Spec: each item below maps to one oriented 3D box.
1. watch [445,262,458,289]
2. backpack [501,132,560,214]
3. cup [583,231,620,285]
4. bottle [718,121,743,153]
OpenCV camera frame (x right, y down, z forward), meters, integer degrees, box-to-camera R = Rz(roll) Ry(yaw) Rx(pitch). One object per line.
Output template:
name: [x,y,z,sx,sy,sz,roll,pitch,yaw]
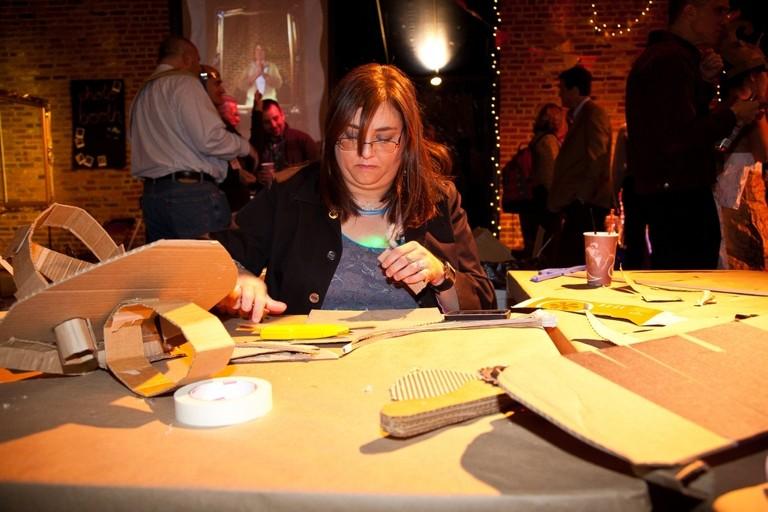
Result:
watch: [0.194,0.053,1.736,0.024,0.049,0.064,-4,20,-11]
backpack: [1.120,-0.641,4.501,0.473,0.626,0.398,2,12,7]
cup: [0.688,0.002,1.805,0.105,0.177,0.144,0,1,5]
bottle: [2.160,-0.739,3.572,0.036,0.148,0.148,35,53,6]
